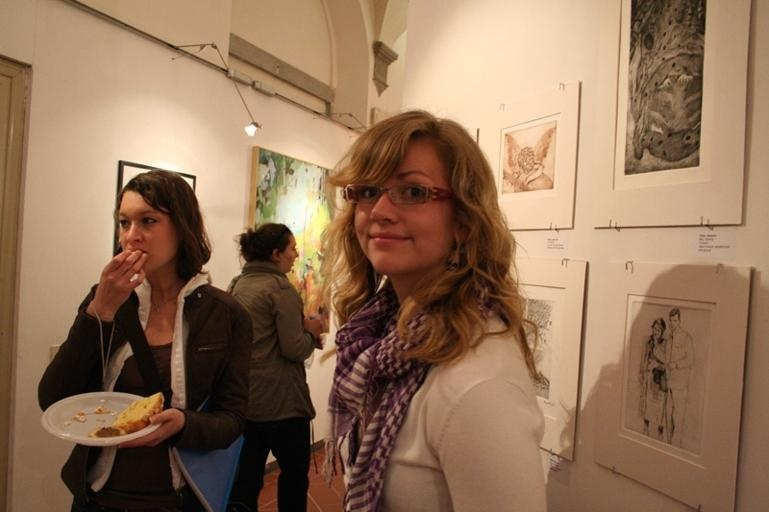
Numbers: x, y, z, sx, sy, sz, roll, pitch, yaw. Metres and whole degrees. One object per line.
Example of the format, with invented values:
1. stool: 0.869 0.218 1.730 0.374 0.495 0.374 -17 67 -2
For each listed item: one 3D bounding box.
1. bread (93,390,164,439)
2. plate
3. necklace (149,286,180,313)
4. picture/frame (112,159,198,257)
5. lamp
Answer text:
1. bread: -1.217 0.786 2.523 0.188 0.055 0.194 -22 10 12
2. plate: -1.412 0.793 2.538 0.374 0.066 0.386 21 12 23
3. necklace: -1.214 0.241 2.845 0.105 0.153 0.111 0 -6 -9
4. picture/frame: -1.640 -0.385 3.762 0.550 0.672 0.025 8 -38 -31
5. lamp: -1.399 -1.415 4.338 0.233 0.748 0.826 4 6 32
